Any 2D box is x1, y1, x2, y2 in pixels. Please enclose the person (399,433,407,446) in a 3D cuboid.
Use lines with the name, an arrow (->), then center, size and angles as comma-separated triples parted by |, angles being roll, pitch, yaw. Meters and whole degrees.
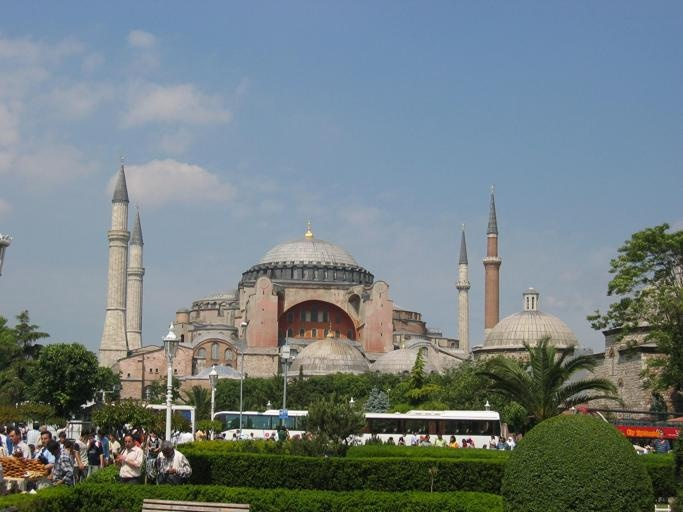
person -> 2.316, 7.262, 54.907 | 0.387, 0.353, 0.873 | -3, -2, 0
